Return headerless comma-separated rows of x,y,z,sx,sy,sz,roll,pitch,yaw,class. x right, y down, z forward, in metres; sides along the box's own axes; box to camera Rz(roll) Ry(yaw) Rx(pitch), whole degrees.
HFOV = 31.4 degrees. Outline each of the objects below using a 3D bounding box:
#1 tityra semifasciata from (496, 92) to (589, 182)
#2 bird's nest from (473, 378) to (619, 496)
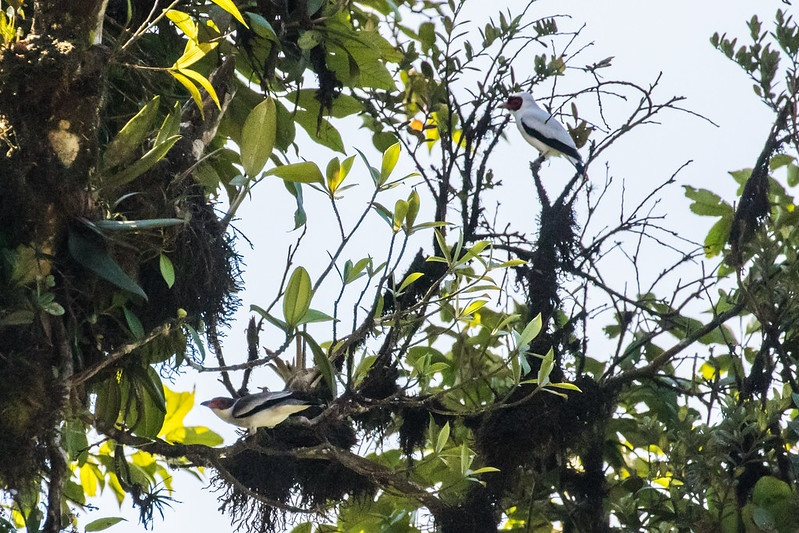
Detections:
0.412,-0.371,4.051,0.254,0.101,0.238,4,-87,-4,tityra semifasciata
0.365,0.415,3.719,0.232,0.346,0.122,30,-4,-6,bird's nest
